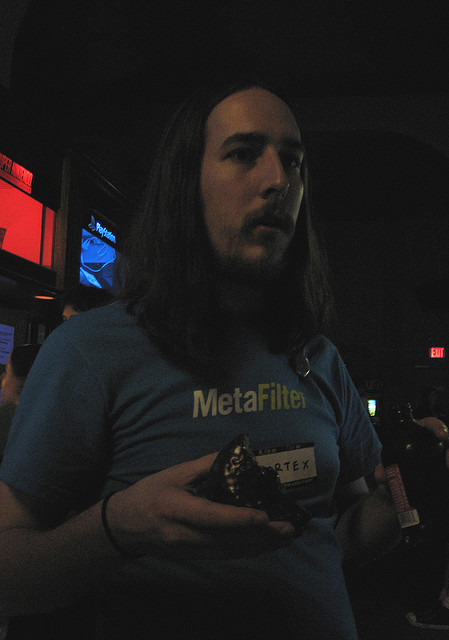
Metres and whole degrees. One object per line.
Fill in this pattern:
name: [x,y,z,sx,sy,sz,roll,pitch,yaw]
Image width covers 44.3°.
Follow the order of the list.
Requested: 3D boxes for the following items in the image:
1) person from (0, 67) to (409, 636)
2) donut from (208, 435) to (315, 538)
person: [0.023,0.048,1.392,0.987,1.425,0.341,7,-6,-26]
donut: [0.063,0.385,1.262,0.264,0.176,0.105,26,-37,-9]
